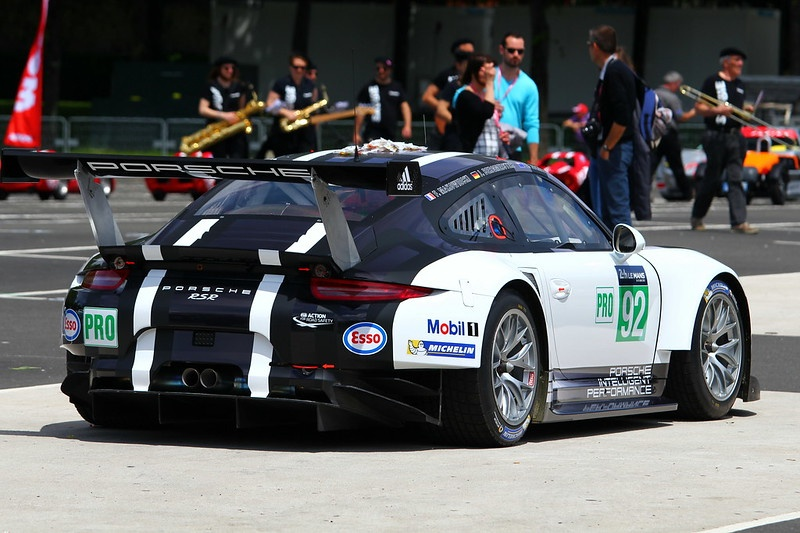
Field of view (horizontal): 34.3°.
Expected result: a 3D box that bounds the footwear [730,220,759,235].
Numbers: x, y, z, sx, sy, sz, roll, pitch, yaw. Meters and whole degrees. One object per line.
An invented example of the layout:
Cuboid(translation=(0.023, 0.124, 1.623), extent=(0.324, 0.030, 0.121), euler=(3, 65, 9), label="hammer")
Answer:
Cuboid(translation=(5.218, -0.578, 19.471), extent=(0.421, 0.184, 0.181), euler=(1, 16, 11), label="footwear")

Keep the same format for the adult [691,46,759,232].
Cuboid(translation=(4.752, -1.819, 18.756), extent=(1.030, 2.661, 0.960), euler=(4, 11, 27), label="adult")

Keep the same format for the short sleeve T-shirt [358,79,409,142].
Cuboid(translation=(-0.285, -2.409, 20.341), extent=(0.766, 0.944, 0.811), euler=(1, 7, -1), label="short sleeve T-shirt")

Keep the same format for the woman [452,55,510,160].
Cuboid(translation=(0.816, -1.550, 13.004), extent=(0.484, 0.521, 1.498), euler=(-6, -32, 4), label="woman")

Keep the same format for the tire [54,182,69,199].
Cuboid(translation=(-7.082, -1.548, 27.029), extent=(0.400, 0.371, 0.388), euler=(5, 4, -25), label="tire")

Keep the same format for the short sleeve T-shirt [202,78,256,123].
Cuboid(translation=(-2.564, -2.478, 19.241), extent=(0.496, 0.509, 0.913), euler=(7, 9, 38), label="short sleeve T-shirt")

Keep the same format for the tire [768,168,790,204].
Cuboid(translation=(7.785, -1.665, 26.510), extent=(0.211, 0.572, 0.575), euler=(-1, -25, 18), label="tire")

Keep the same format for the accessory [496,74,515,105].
Cuboid(translation=(1.148, -1.911, 14.206), extent=(0.184, 0.329, 0.173), euler=(15, 9, 15), label="accessory")

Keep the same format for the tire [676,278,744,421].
Cuboid(translation=(2.140, 0.588, 8.991), extent=(0.309, 0.967, 0.886), euler=(-6, -10, 43), label="tire")

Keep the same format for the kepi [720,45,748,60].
Cuboid(translation=(4.782, -3.009, 18.416), extent=(0.335, 0.120, 0.301), euler=(2, 5, -14), label="kepi")

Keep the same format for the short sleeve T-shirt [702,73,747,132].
Cuboid(translation=(4.641, -2.322, 18.516), extent=(0.590, 0.804, 0.556), euler=(3, 8, 15), label="short sleeve T-shirt")

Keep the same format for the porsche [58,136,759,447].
Cuboid(translation=(0.128, 0.202, 8.288), extent=(4.306, 1.804, 1.491), euler=(-3, 8, -25), label="porsche")

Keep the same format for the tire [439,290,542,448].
Cuboid(translation=(0.560, 0.631, 8.095), extent=(0.388, 1.004, 1.019), euler=(-3, -12, 29), label="tire")

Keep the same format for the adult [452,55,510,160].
Cuboid(translation=(0.816, -1.550, 13.004), extent=(0.484, 0.521, 1.498), euler=(-6, -32, 4), label="adult")
